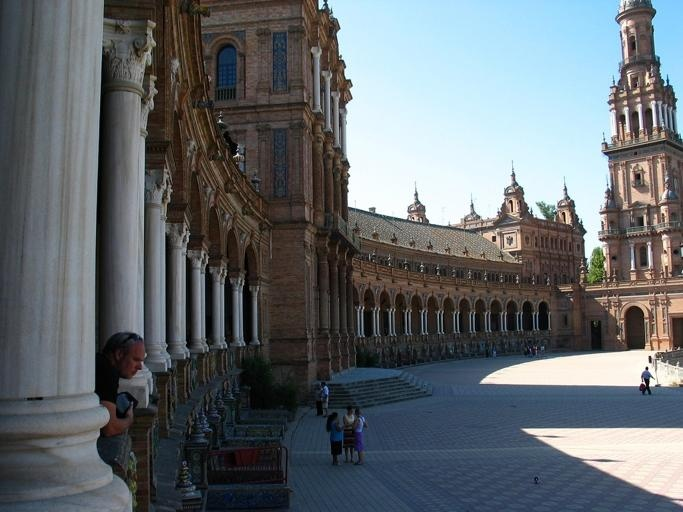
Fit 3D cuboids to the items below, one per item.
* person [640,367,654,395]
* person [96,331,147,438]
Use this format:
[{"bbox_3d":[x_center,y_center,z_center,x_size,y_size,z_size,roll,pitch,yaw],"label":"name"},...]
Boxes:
[{"bbox_3d":[12.765,5.271,33.745,0.425,1.109,2.373,-2,-4,21],"label":"person"},{"bbox_3d":[-1.654,0.969,5.971,0.346,0.787,0.724,0,-4,-16],"label":"person"}]
